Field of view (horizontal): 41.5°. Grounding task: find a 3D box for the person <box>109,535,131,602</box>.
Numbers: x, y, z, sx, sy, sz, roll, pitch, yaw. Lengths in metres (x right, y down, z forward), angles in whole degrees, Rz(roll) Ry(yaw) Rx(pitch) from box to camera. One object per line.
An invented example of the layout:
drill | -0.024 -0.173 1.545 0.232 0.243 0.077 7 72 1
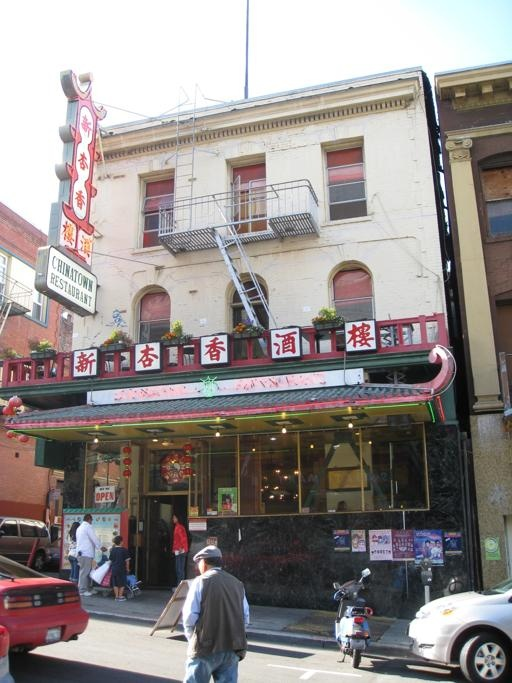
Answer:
person | -2.730 4.549 13.715 0.441 1.174 0.376 -3 -6 9

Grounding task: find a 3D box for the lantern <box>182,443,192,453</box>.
lantern | -1.590 2.530 16.086 0.224 0.249 0.237 18 -25 -38

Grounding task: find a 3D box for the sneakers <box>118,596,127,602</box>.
sneakers | -2.673 5.189 13.637 0.084 0.082 0.199 0 -27 3

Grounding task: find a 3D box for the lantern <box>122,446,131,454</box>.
lantern | -3.115 2.645 16.323 0.205 0.181 0.199 -23 -36 9

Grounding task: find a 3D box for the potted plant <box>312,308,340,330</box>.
potted plant | 1.560 -0.486 14.925 0.610 0.554 0.478 0 -17 -10

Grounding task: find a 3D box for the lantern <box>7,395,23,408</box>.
lantern | -5.410 1.363 15.300 0.296 0.274 0.293 -6 7 -44

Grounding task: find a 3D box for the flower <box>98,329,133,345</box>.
flower | -3.388 -0.083 16.709 0.516 0.495 0.572 -9 -18 20

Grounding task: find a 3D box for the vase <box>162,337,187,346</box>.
vase | -1.856 0.004 15.855 0.618 0.175 0.106 -5 -18 9

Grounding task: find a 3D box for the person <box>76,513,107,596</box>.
person | -3.542 4.533 14.501 0.658 1.603 0.540 5 -17 -23

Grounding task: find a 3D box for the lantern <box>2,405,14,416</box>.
lantern | -5.494 1.530 14.970 0.231 0.208 0.221 1 2 11

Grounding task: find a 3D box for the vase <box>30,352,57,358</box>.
vase | -5.247 0.336 16.696 0.577 0.180 0.147 -3 -17 0

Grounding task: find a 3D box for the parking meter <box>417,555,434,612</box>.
parking meter | 3.055 4.256 11.878 0.266 0.823 0.181 1 3 14

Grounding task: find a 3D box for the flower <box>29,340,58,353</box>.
flower | -6.654 0.131 20.972 0.493 0.338 0.591 3 -6 10

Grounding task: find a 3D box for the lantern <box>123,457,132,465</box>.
lantern | -3.091 2.875 16.276 0.183 0.189 0.179 -10 -19 29

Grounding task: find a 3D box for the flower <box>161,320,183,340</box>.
flower | -1.973 -0.159 16.138 0.432 0.351 0.521 23 -38 -31

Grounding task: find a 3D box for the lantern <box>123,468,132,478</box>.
lantern | -3.085 3.140 16.221 0.223 0.244 0.213 11 -13 -11
